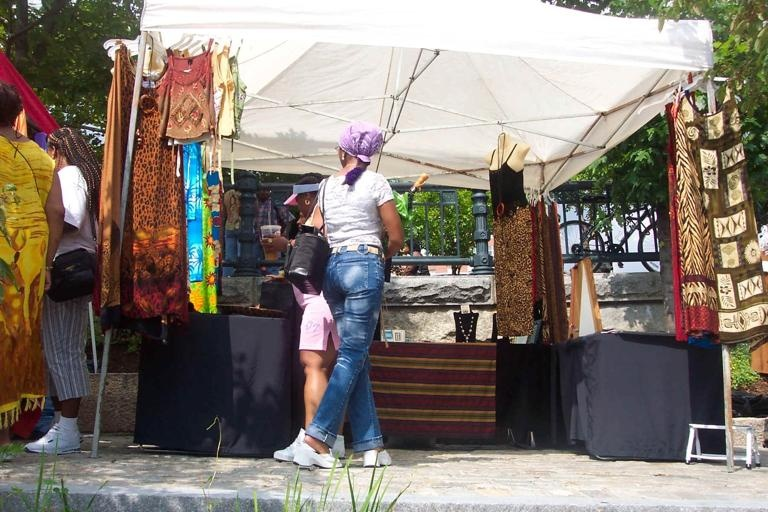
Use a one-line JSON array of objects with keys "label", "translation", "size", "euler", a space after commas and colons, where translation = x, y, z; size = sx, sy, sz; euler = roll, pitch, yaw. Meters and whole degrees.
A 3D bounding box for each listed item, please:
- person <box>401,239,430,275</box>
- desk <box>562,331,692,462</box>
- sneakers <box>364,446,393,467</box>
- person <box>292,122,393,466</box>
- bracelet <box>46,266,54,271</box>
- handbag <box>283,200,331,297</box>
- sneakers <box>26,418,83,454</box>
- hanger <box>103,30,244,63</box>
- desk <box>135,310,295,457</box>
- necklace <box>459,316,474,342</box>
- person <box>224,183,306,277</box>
[{"label": "person", "translation": [0.407, 0.011, 10.307], "size": [0.363, 0.594, 1.135], "euler": [-1, -6, 4]}, {"label": "desk", "translation": [2.297, 1.247, 7.036], "size": [1.358, 1.028, 1.186], "euler": [5, -9, -44]}, {"label": "sneakers", "translation": [-0.062, 1.482, 5.669], "size": [0.190, 0.137, 0.375], "euler": [-2, -6, 15]}, {"label": "person", "translation": [-0.250, 0.255, 5.804], "size": [0.786, 2.590, 0.371], "euler": [0, -7, 0]}, {"label": "bracelet", "translation": [-2.534, 0.096, 5.811], "size": [0.036, 0.021, 0.036], "euler": [2, -4, 17]}, {"label": "handbag", "translation": [-0.624, -0.034, 5.960], "size": [0.250, 0.423, 0.316], "euler": [9, -6, 0]}, {"label": "sneakers", "translation": [-2.529, 1.366, 5.867], "size": [0.191, 0.297, 0.462], "euler": [-17, -18, 36]}, {"label": "hanger", "translation": [-1.821, -1.750, 6.373], "size": [0.873, 0.233, 0.552], "euler": [-6, 10, -41]}, {"label": "desk", "translation": [-1.325, 0.995, 6.488], "size": [1.159, 1.020, 1.144], "euler": [1, -4, 1]}, {"label": "necklace", "translation": [0.871, 0.750, 7.993], "size": [0.141, 0.247, 0.061], "euler": [4, -4, 11]}, {"label": "person", "translation": [-1.407, -0.266, 8.703], "size": [1.069, 1.320, 0.551], "euler": [3, -9, -26]}]
